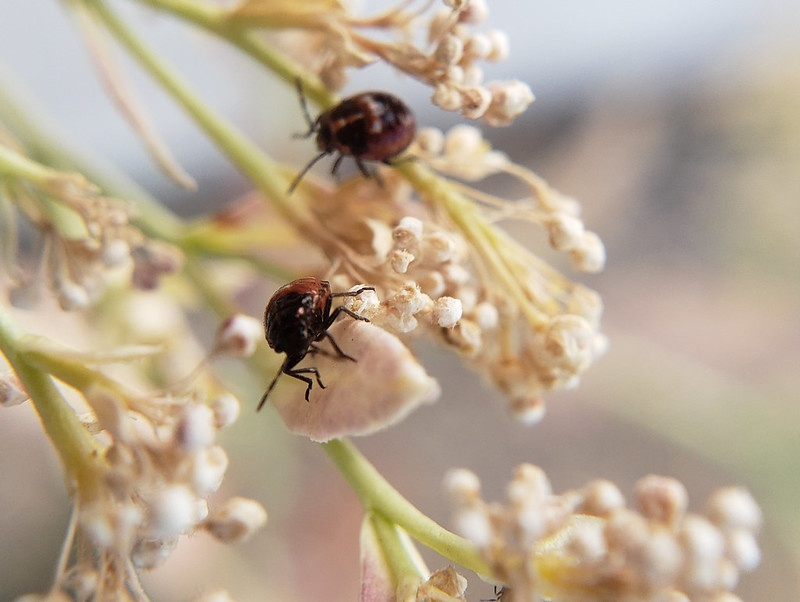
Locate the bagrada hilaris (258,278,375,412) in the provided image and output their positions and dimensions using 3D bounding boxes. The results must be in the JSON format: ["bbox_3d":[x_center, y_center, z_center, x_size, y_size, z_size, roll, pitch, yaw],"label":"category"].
[{"bbox_3d":[-0.110,0.031,1.301,0.057,0.188,0.143,45,-38,-21],"label":"bagrada hilaris"}]

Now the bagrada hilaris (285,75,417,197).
[{"bbox_3d":[-0.052,-0.237,1.311,0.167,0.147,0.055,-6,-3,23],"label":"bagrada hilaris"}]
